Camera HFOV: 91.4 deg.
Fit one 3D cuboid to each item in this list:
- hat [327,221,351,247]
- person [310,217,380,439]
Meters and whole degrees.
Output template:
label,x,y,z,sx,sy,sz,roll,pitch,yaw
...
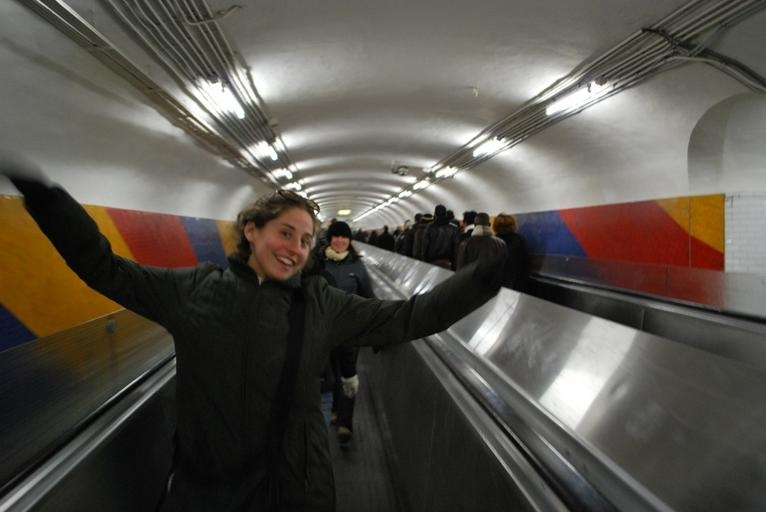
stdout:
label,x,y,z,sx,sy,sz,roll,pitch,yaw
hat,-0.429,-0.208,3.783,0.174,0.219,0.247,4,-10,-8
person,-0.475,0.616,4.067,0.850,2.052,0.596,1,24,-4
